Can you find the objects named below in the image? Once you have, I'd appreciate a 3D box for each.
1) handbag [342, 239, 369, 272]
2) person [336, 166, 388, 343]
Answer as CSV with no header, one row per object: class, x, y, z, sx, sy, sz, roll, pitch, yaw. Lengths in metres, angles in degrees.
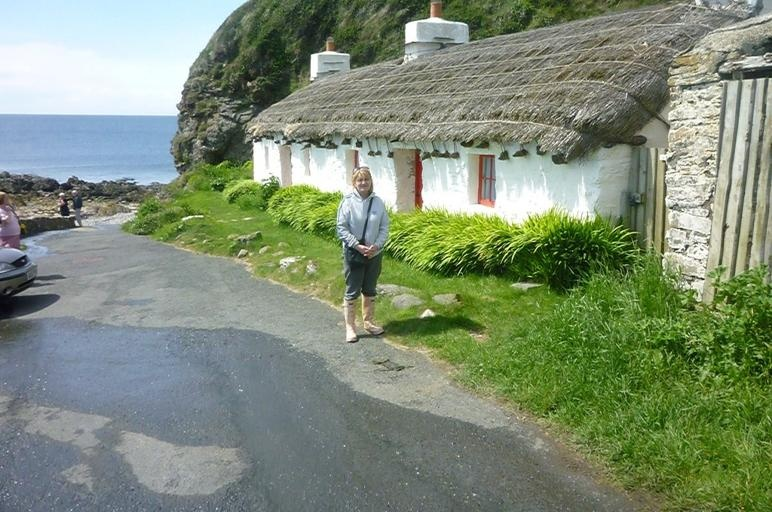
handbag,-0.487,0.002,8.429,0.428,0.582,0.334,-2,9,6
person,-0.383,0.013,8.639,0.730,2.857,0.743,5,8,26
